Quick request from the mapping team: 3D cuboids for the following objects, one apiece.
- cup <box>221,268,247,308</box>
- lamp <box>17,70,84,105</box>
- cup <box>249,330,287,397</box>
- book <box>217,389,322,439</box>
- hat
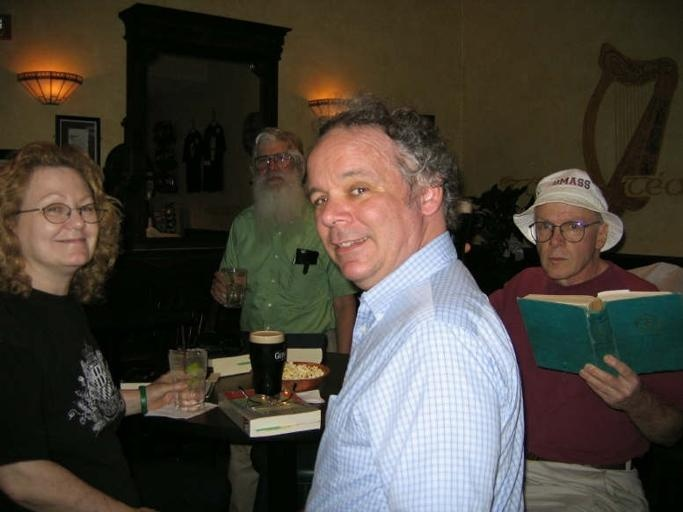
[{"bbox_3d":[-0.561,0.178,3.235,0.113,0.223,0.152,-1,10,-12],"label":"cup"},{"bbox_3d":[-2.263,-1.306,4.770,0.316,0.130,0.309,0,2,4],"label":"lamp"},{"bbox_3d":[-0.294,0.447,2.521,0.168,0.253,0.168,0,3,0],"label":"cup"},{"bbox_3d":[-0.300,0.616,2.472,0.322,0.073,0.313,2,7,-34],"label":"book"},{"bbox_3d":[1.057,-0.281,2.906,0.472,0.278,0.556,3,0,20],"label":"hat"}]
